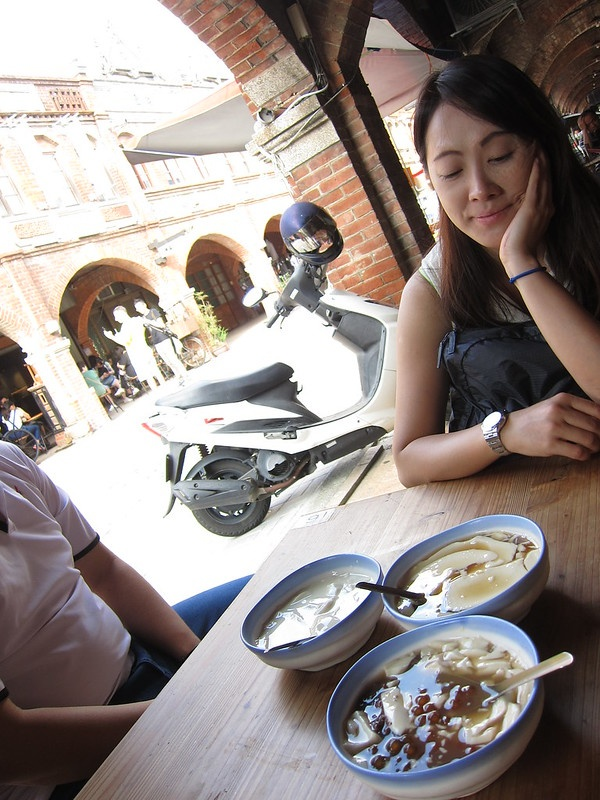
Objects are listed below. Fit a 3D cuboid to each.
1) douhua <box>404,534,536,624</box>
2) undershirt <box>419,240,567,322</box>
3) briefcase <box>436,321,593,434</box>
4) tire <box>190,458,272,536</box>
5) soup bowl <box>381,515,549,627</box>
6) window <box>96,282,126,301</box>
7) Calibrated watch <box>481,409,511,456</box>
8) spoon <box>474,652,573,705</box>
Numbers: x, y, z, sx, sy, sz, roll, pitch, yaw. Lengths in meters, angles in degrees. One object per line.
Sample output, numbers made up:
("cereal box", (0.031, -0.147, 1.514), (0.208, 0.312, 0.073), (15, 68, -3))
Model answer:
("douhua", (0.214, 0.225, 0.702), (0.196, 0.016, 0.152), (-28, 9, 7))
("undershirt", (0.498, -0.317, 1.439), (0.374, 0.226, 0.176), (-5, 41, 19))
("briefcase", (0.444, -0.047, 1.081), (0.273, 0.193, 0.148), (-6, -11, 37))
("tire", (-0.468, 0.647, 3.623), (0.665, 0.642, 0.115), (0, 12, 5))
("soup bowl", (0.204, 0.188, 0.677), (0.179, 0.064, 0.179), (-24, 2, 1))
("window", (-6.749, -3.834, 19.001), (0.468, 0.614, 0.975), (22, 45, 34))
("Calibrated watch", (0.384, 0.066, 1.026), (0.058, 0.071, 0.051), (-30, 11, 16))
("spoon", (0.190, 0.227, 0.451), (0.096, 0.006, 0.027), (-7, -34, -22))
